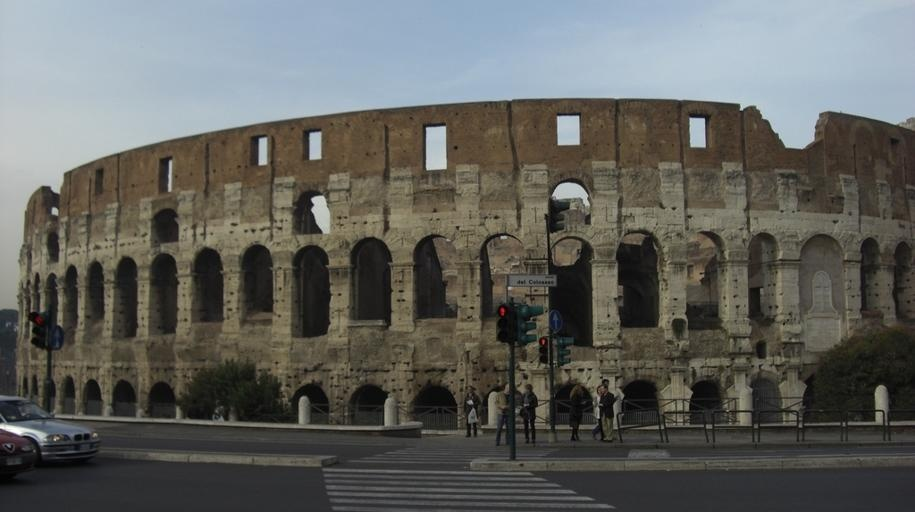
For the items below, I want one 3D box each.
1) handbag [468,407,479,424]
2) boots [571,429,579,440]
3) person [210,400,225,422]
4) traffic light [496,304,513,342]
[{"bbox_3d":[0.807,9.557,90.560,0.578,0.907,0.967,0,-12,-2],"label":"handbag"},{"bbox_3d":[6.737,10.246,86.489,0.369,0.630,0.851,-2,-12,7],"label":"boots"},{"bbox_3d":[-15.269,9.641,94.971,0.776,1.066,0.510,0,-12,-3],"label":"person"},{"bbox_3d":[2.550,3.585,81.489,0.970,2.219,0.499,5,-14,-24],"label":"traffic light"}]
